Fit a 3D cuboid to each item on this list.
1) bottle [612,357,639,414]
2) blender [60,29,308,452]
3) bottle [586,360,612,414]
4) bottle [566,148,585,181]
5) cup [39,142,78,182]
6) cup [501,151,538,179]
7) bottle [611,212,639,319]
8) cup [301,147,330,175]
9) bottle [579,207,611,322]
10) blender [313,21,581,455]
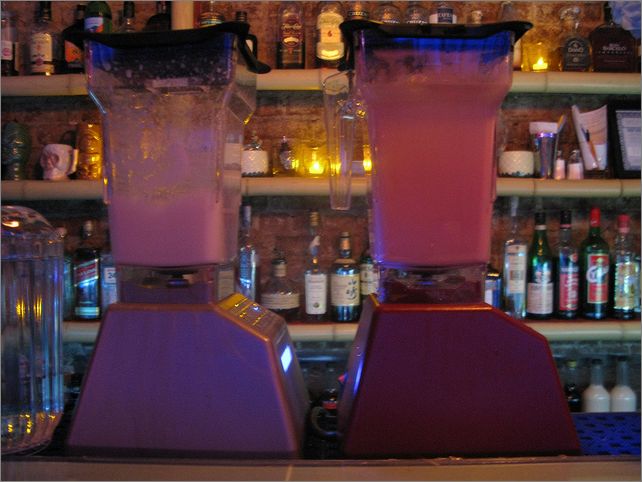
[{"bbox_3d":[0.935,0.437,2.310,0.071,0.174,0.152,-1,6,20],"label":"bottle"},{"bbox_3d":[-0.250,-0.008,1.390,0.408,0.761,0.287,-3,7,4],"label":"blender"},{"bbox_3d":[0.842,0.443,2.270,0.078,0.172,0.167,-2,6,13],"label":"bottle"},{"bbox_3d":[0.775,-0.231,2.273,0.042,0.106,0.034,1,42,24],"label":"bottle"},{"bbox_3d":[-0.807,-0.239,2.292,0.121,0.093,0.118,2,3,0],"label":"cup"},{"bbox_3d":[0.592,-0.232,2.246,0.097,0.057,0.086,0,5,0],"label":"cup"},{"bbox_3d":[0.938,0.066,2.308,0.075,0.306,0.274,-1,6,21],"label":"bottle"},{"bbox_3d":[-0.024,-0.252,2.326,0.125,0.095,0.083,-2,12,-6],"label":"cup"},{"bbox_3d":[0.841,0.060,2.291,0.090,0.330,0.214,-1,7,20],"label":"bottle"},{"bbox_3d":[0.193,-0.011,1.339,0.464,0.768,0.206,-3,7,-1],"label":"blender"}]
